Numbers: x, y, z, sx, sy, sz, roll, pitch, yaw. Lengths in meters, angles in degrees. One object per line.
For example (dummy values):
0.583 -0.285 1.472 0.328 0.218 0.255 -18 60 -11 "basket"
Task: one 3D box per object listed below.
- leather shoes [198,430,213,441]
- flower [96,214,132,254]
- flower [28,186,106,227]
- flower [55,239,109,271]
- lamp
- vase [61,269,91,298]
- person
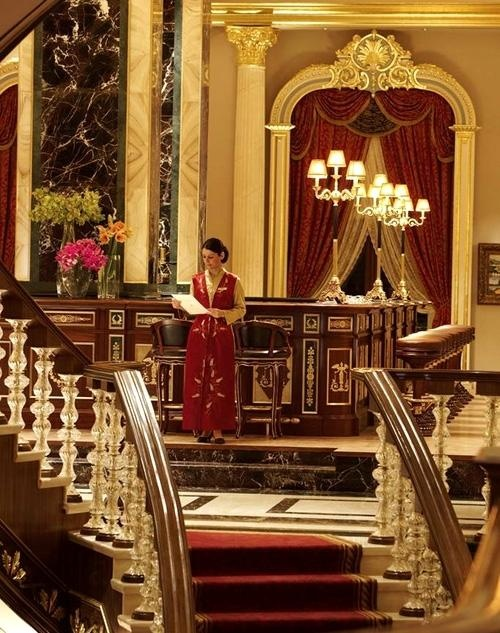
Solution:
-0.381 0.977 6.440 0.056 0.076 0.180 1 5 -9 "leather shoes"
-1.361 -0.786 7.686 0.351 0.392 0.393 7 -16 -12 "flower"
-1.793 -1.043 7.764 0.536 0.284 0.518 0 4 0 "flower"
-1.598 -0.585 7.444 0.382 0.339 0.338 0 6 30 "flower"
1.821 -1.426 11.706 0.613 1.612 2.638 -1 -3 31 "lamp"
-1.726 -0.333 7.637 0.272 0.289 0.266 -3 3 -16 "vase"
-0.290 0.199 6.190 0.480 1.591 0.693 1 -6 -5 "person"
